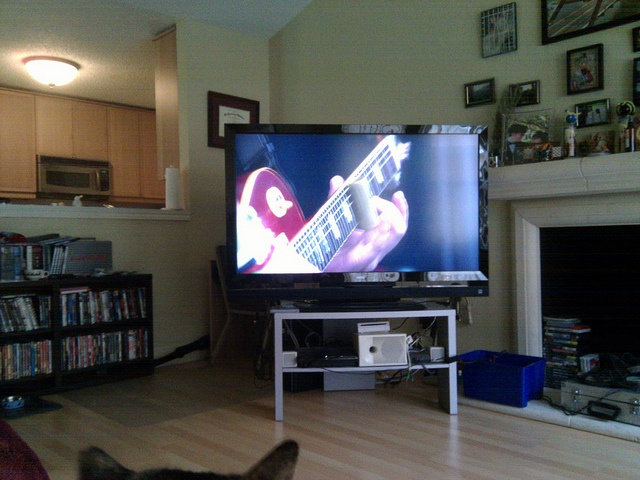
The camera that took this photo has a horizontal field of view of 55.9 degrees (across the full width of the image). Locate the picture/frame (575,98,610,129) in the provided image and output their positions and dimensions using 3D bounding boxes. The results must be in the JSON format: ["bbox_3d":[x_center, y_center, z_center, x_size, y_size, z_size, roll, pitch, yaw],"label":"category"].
[{"bbox_3d":[1.663,-0.766,3.673,0.269,0.190,0.027,1,0,35],"label":"picture/frame"}]

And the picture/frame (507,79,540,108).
[{"bbox_3d":[1.327,-0.948,3.914,0.253,0.174,0.026,5,8,34],"label":"picture/frame"}]

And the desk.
[{"bbox_3d":[0.260,0.680,3.756,1.108,0.621,0.651,-1,10,-4],"label":"desk"}]

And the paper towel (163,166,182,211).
[{"bbox_3d":[-1.129,-0.408,4.724,0.155,0.283,0.129,0,2,7],"label":"paper towel"}]

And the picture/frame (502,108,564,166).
[{"bbox_3d":[1.370,-0.652,3.838,0.534,0.337,0.040,2,3,36],"label":"picture/frame"}]

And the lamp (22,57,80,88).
[{"bbox_3d":[-2.374,-1.448,5.365,0.443,0.162,0.446,-11,-14,42],"label":"lamp"}]

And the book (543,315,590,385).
[{"bbox_3d":[1.543,0.674,3.824,0.370,0.378,0.141,0,-3,28],"label":"book"}]

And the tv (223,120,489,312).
[{"bbox_3d":[0.215,-0.163,3.631,1.607,0.761,0.069,-1,2,-2],"label":"tv"}]

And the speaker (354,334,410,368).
[{"bbox_3d":[0.374,0.633,3.551,0.267,0.118,0.233,0,-1,-6],"label":"speaker"}]
